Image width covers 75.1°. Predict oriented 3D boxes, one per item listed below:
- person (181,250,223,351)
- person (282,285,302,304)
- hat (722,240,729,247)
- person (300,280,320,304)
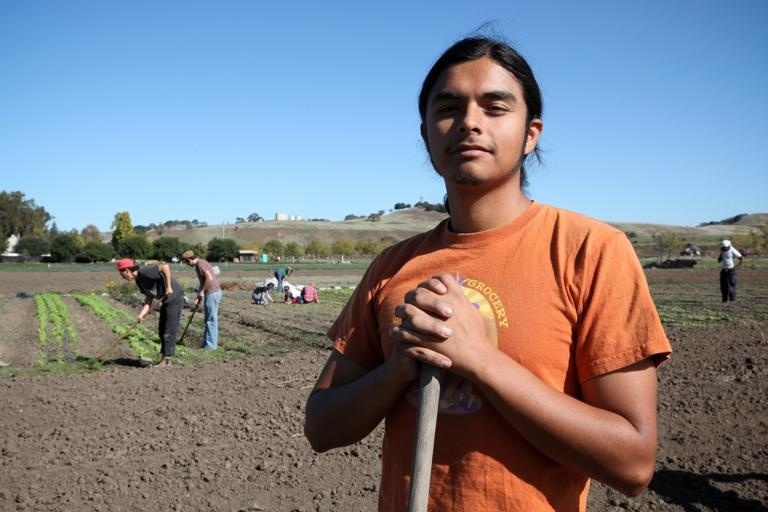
[{"bbox_3d":[-4.136,1.052,11.644,0.617,2.224,1.297,-6,11,-22],"label":"person"},{"bbox_3d":[-3.989,1.668,21.852,1.226,0.644,0.618,6,12,37],"label":"person"},{"bbox_3d":[11.335,-0.413,16.591,0.247,0.240,0.447,5,12,33],"label":"hat"},{"bbox_3d":[-3.190,1.588,21.911,0.873,1.156,0.753,2,-6,8],"label":"person"}]
